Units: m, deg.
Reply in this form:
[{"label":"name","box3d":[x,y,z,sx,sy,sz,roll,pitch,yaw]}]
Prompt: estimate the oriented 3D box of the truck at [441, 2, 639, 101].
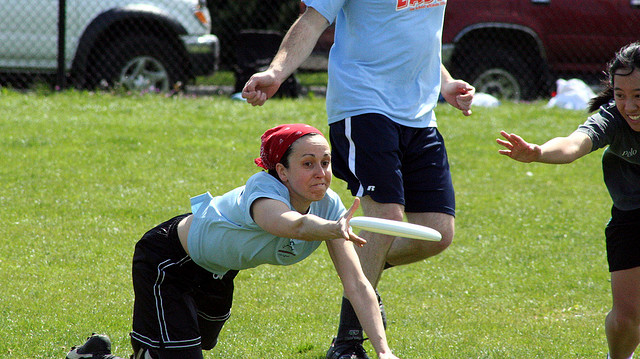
[{"label":"truck","box3d":[3.279,-1.965,16.780,3.001,1.216,1.585,-4,10,1]}]
